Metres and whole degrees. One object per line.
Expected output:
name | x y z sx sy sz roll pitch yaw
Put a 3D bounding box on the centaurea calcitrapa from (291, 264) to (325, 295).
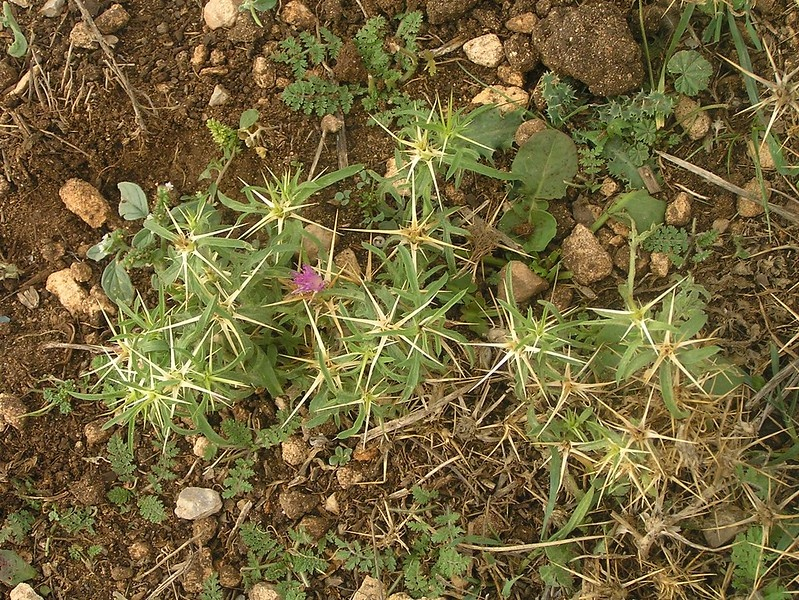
centaurea calcitrapa | -0.311 -0.061 2.375 0.103 0.117 0.109 8 108 5
